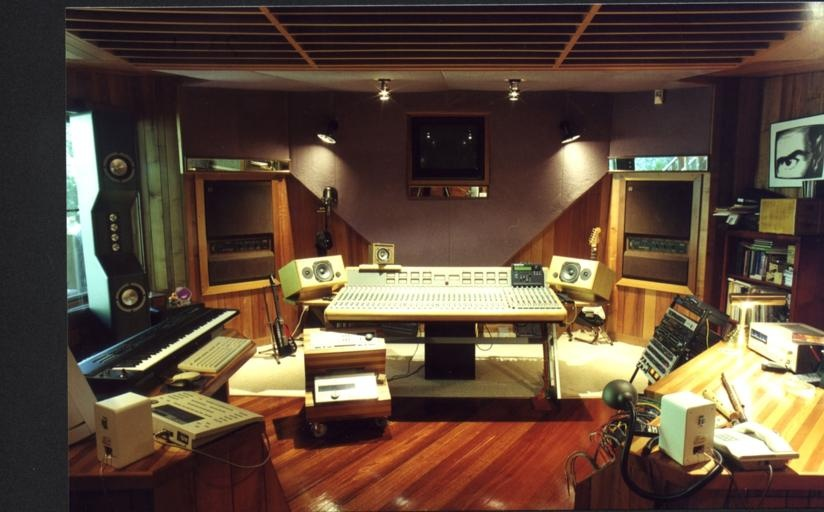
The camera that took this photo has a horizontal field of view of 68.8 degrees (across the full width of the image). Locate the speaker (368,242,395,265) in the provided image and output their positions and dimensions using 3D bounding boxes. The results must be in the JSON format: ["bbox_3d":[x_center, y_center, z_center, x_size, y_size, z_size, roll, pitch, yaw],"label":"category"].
[{"bbox_3d":[-0.292,-0.001,5.455,0.267,0.227,0.176,0,-3,-7],"label":"speaker"}]

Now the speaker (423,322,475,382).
[{"bbox_3d":[0.335,0.864,5.425,0.463,0.583,0.313,-1,8,0],"label":"speaker"}]

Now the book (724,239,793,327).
[{"bbox_3d":[2.934,0.237,5.069,0.252,0.688,0.744,0,2,-6],"label":"book"}]

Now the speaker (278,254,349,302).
[{"bbox_3d":[-0.910,0.191,5.481,0.423,0.385,0.562,0,8,40],"label":"speaker"}]

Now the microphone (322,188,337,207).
[{"bbox_3d":[-0.815,-0.586,6.132,0.186,0.190,0.175,0,8,-1],"label":"microphone"}]

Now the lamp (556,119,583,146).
[{"bbox_3d":[1.478,-1.149,5.611,0.120,0.233,0.297,6,10,42],"label":"lamp"}]

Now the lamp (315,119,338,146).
[{"bbox_3d":[-0.864,-1.220,5.936,0.198,0.268,0.305,-9,10,-43],"label":"lamp"}]

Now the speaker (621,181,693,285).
[{"bbox_3d":[2.430,-0.239,6.038,0.627,1.018,0.221,3,9,28],"label":"speaker"}]

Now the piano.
[{"bbox_3d":[-1.821,0.609,4.340,0.451,0.311,1.103,3,8,29],"label":"piano"}]
